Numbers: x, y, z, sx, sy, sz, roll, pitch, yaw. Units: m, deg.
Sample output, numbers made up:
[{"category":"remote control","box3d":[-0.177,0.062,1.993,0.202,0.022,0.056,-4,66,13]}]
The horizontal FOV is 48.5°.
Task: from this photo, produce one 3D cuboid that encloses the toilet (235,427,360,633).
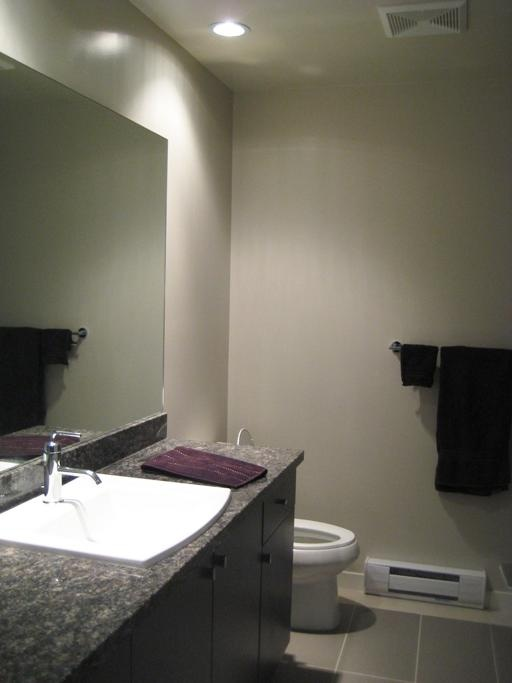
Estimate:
[{"category":"toilet","box3d":[0.205,0.893,2.433,0.401,0.635,0.318,2,0,1]}]
